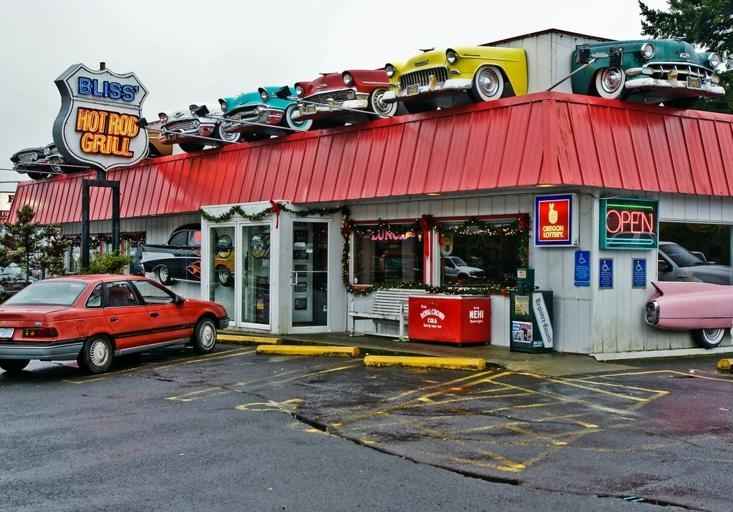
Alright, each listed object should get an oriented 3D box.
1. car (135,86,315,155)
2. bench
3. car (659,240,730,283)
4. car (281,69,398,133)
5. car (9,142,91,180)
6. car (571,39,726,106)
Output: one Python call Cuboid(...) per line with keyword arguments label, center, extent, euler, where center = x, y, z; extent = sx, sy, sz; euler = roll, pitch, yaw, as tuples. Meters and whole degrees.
Cuboid(label="car", center=(-4.609, -4.591, 24.047), extent=(5.752, 1.740, 2.148), euler=(4, 6, 42))
Cuboid(label="bench", center=(0.581, 1.565, 19.419), extent=(1.069, 1.375, 2.526), euler=(4, -3, -32))
Cuboid(label="car", center=(8.196, 0.158, 18.077), extent=(1.741, 0.820, 1.032), euler=(-1, 1, 23))
Cuboid(label="car", center=(-0.578, -4.565, 20.795), extent=(2.744, 1.578, 1.860), euler=(1, 5, 20))
Cuboid(label="car", center=(-14.802, -4.231, 32.686), extent=(1.964, 1.513, 4.343), euler=(-4, 6, -45))
Cuboid(label="car", center=(6.822, -4.535, 17.473), extent=(3.272, 1.660, 2.578), euler=(1, 5, 18))
